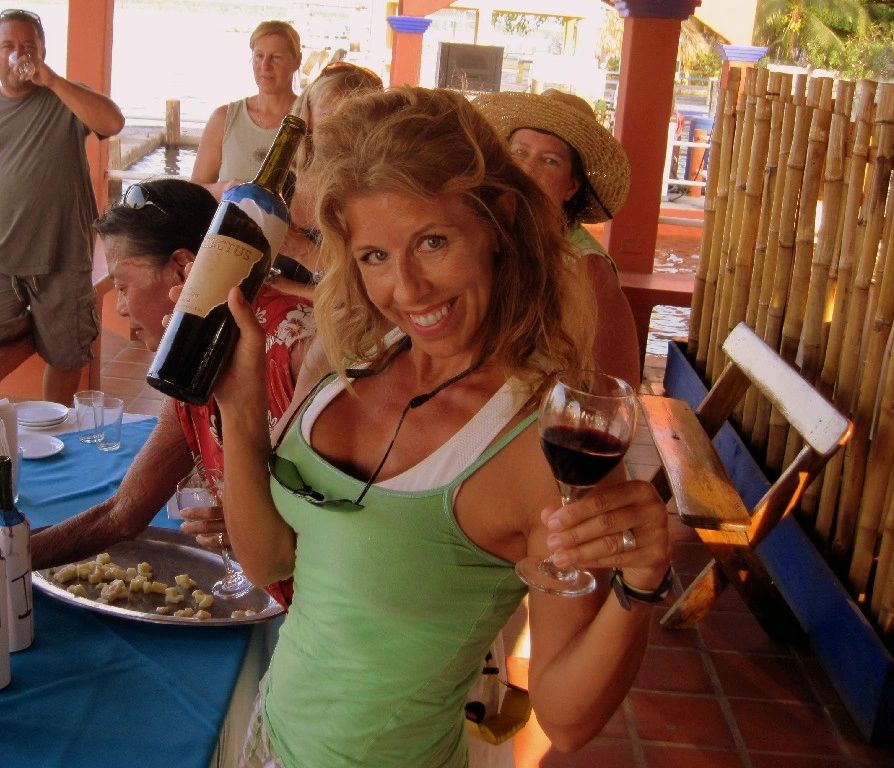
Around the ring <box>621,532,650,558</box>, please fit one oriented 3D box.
[{"bbox_3d":[0.222,0.183,0.836,0.027,0.010,0.020,-34,5,-26],"label":"ring"}]

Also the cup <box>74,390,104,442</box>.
[{"bbox_3d":[-1.140,0.104,2.271,0.106,0.141,0.085,6,19,-25],"label":"cup"}]

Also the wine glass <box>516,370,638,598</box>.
[{"bbox_3d":[0.189,0.140,0.963,0.123,0.297,0.198,14,17,36],"label":"wine glass"}]

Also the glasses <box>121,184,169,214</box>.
[{"bbox_3d":[-0.679,-0.410,1.625,0.077,0.038,0.095,7,-21,37],"label":"glasses"}]

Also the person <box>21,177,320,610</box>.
[{"bbox_3d":[-0.657,-0.047,1.956,0.860,1.143,0.616,2,1,-34],"label":"person"}]

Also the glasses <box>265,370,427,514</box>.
[{"bbox_3d":[-0.168,0.093,1.149,0.188,0.207,0.061,24,-18,30],"label":"glasses"}]

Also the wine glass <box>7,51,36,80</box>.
[{"bbox_3d":[-2.275,-1.666,3.796,0.167,0.135,0.054,8,14,16],"label":"wine glass"}]

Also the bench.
[{"bbox_3d":[1.189,0.338,3.101,0.621,0.925,1.220,5,20,9],"label":"bench"}]
